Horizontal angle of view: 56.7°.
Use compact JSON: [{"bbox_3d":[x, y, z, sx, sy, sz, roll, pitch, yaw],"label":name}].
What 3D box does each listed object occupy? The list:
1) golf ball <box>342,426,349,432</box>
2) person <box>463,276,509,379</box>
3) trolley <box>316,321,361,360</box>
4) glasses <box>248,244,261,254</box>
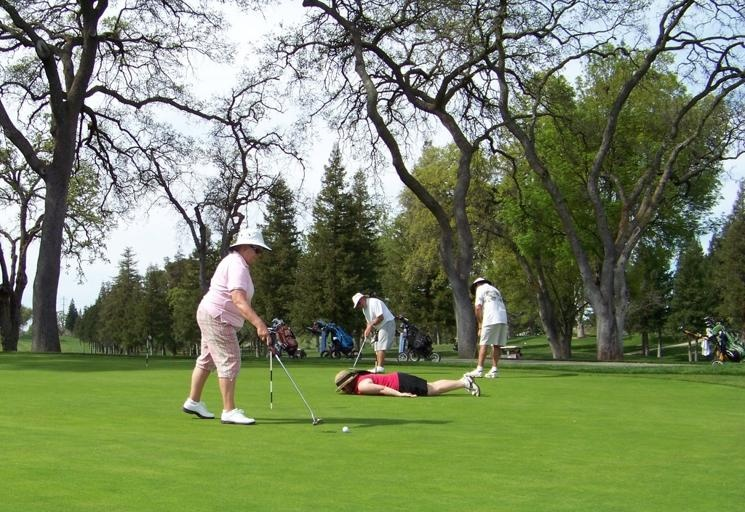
[{"bbox_3d":[-0.338,2.187,8.810,0.049,0.053,0.062,-6,11,-30],"label":"golf ball"},{"bbox_3d":[2.646,1.547,16.775,1.109,2.771,1.365,1,1,31],"label":"person"},{"bbox_3d":[-1.709,4.462,36.788,2.420,2.661,1.902,-11,-13,31],"label":"trolley"},{"bbox_3d":[-1.682,-0.094,9.950,0.066,0.133,0.124,-44,-28,23],"label":"glasses"}]
